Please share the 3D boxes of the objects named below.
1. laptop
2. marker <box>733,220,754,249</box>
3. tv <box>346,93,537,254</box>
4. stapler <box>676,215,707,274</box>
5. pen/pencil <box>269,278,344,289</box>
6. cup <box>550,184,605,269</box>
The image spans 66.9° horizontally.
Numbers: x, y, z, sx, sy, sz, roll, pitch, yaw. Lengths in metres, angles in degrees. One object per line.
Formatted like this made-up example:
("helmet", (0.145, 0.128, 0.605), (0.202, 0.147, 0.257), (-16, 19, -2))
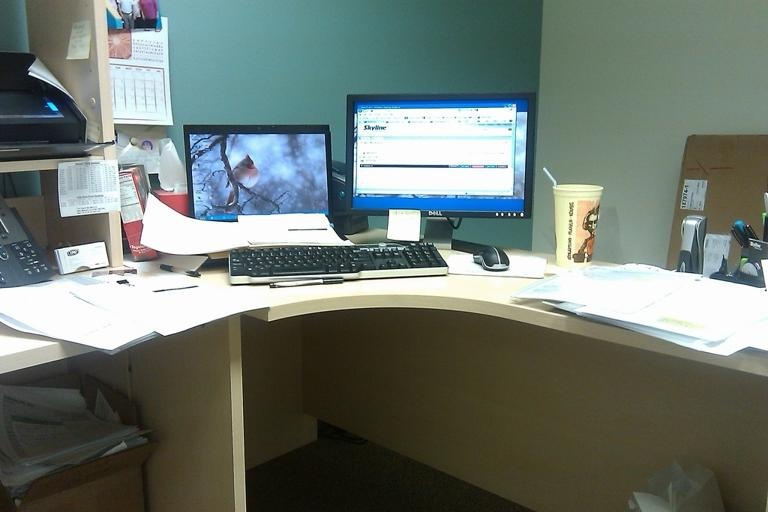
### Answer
("laptop", (-0.404, -0.236, 1.887), (0.489, 0.342, 0.321), (-3, 17, -14))
("marker", (1.018, -0.059, 1.653), (0.051, 0.069, 0.069), (8, 15, 34))
("tv", (0.179, -0.305, 2.017), (0.586, 0.454, 0.159), (1, 8, 5))
("stapler", (0.905, -0.022, 1.714), (0.076, 0.186, 0.043), (-23, 27, -21))
("pen/pencil", (-0.233, 0.079, 1.676), (0.131, 0.016, 0.023), (-2, 18, -16))
("cup", (0.599, -0.098, 1.875), (0.134, 0.254, 0.136), (-1, 12, 0))
